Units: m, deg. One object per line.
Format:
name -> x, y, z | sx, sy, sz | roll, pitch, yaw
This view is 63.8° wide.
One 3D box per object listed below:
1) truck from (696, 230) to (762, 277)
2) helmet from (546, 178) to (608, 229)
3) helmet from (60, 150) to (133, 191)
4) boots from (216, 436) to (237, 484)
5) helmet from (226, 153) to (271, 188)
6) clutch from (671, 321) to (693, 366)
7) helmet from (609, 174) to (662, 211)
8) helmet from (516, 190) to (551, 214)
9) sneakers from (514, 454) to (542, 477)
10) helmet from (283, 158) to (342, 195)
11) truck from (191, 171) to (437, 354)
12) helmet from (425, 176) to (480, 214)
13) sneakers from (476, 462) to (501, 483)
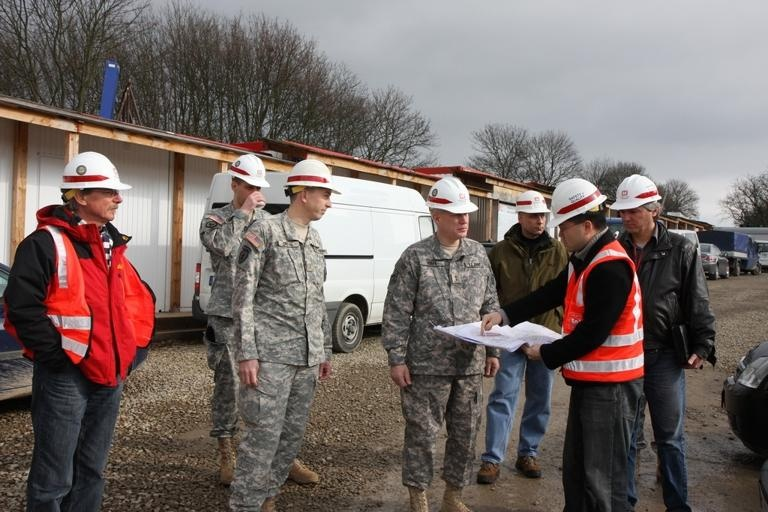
truck -> 17.897, -0.230, 33.134 | 2.895, 2.796, 4.994 | 0, 3, 35
helmet -> 1.376, -0.434, 4.524 | 0.476, 0.298, 0.348 | -19, 14, 15
helmet -> -2.023, -0.602, 4.355 | 0.462, 0.252, 0.348 | 2, 11, 10
boots -> -1.413, 1.759, 5.435 | 0.204, 0.257, 0.613 | 1, 6, -19
helmet -> -1.270, -0.785, 5.665 | 0.367, 0.202, 0.295 | 24, 13, 32
clutch -> 2.322, 0.704, 4.876 | 0.142, 0.320, 0.094 | 0, 1, 7
helmet -> 2.066, -0.549, 5.116 | 0.448, 0.260, 0.316 | -12, 16, -32
helmet -> 1.386, -0.503, 5.820 | 0.269, 0.149, 0.217 | 1, -1, 41
sneakers -> 1.315, 1.938, 5.716 | 0.117, 0.135, 0.295 | 1, -6, -19
helmet -> -0.555, -0.632, 4.868 | 0.439, 0.270, 0.330 | 5, 4, 15
truck -> -1.217, -0.069, 10.203 | 2.245, 2.157, 4.225 | 2, 5, 41
helmet -> 0.521, -0.510, 4.994 | 0.446, 0.262, 0.341 | 11, 16, 43
sneakers -> 0.916, 1.946, 5.526 | 0.106, 0.134, 0.279 | -2, -12, 24
